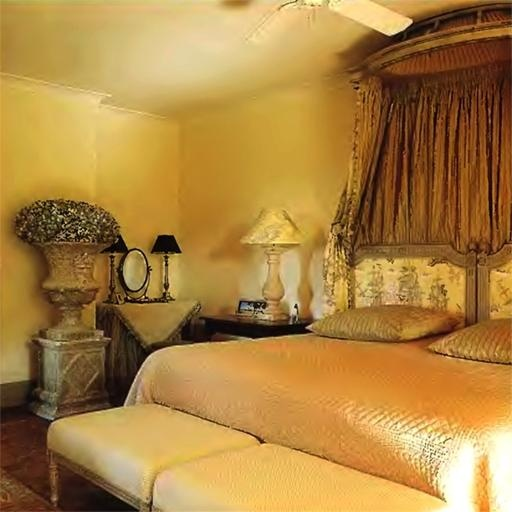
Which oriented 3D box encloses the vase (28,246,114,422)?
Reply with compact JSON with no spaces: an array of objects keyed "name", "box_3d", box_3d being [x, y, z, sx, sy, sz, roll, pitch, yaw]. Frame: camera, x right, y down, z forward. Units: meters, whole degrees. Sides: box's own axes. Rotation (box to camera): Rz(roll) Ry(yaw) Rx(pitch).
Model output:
[{"name":"vase","box_3d":[-1.475,0.565,3.868,0.610,1.326,0.418,0,1,-13]}]
